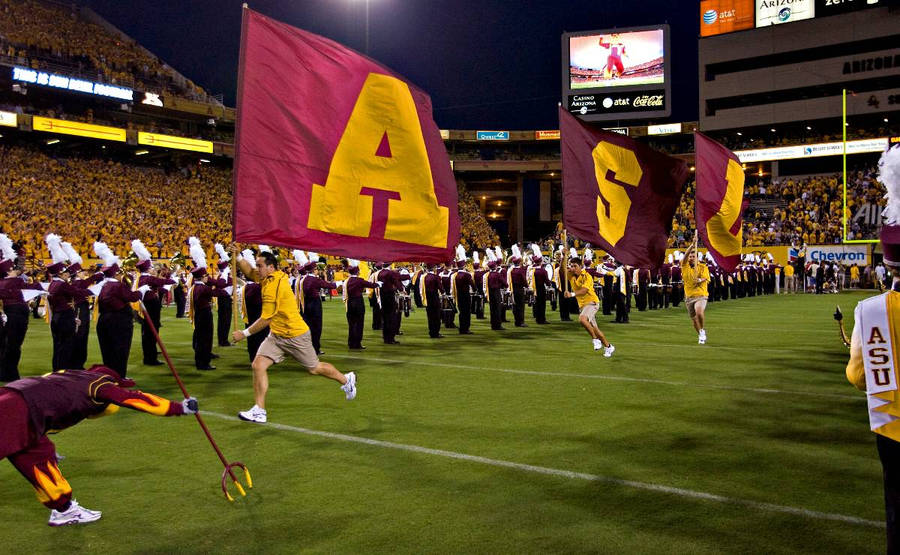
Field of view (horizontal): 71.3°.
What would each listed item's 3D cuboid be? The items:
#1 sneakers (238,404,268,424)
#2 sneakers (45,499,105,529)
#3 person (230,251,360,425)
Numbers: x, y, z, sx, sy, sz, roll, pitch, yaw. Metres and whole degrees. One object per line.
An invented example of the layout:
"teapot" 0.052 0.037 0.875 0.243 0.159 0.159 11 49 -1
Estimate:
"sneakers" -2.709 1.845 8.485 0.517 0.262 0.185 7 -8 2
"sneakers" -3.563 2.269 6.047 0.526 0.216 0.209 0 -3 -10
"person" -2.261 0.781 8.737 1.391 2.271 0.618 -3 5 -21
